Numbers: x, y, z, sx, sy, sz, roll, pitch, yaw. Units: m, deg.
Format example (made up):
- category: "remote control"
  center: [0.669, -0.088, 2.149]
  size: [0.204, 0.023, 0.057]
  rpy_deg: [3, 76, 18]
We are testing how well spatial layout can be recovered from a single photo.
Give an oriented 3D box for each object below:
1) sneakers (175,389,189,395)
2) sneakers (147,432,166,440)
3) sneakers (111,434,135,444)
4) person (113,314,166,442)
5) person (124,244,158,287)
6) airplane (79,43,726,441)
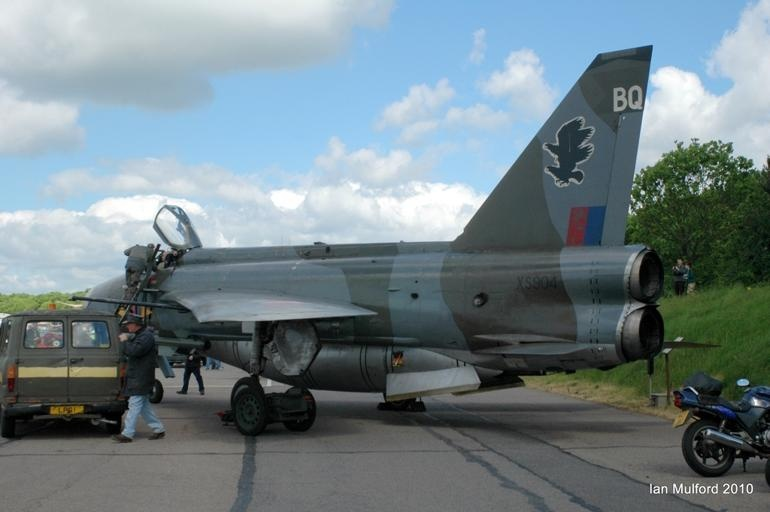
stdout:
- category: "sneakers"
  center: [-6.157, 4.070, 19.877]
  size: [0.371, 0.230, 0.124]
  rpy_deg: [1, -13, 12]
- category: "sneakers"
  center: [-4.562, 3.570, 13.181]
  size: [0.359, 0.207, 0.114]
  rpy_deg: [2, 1, 3]
- category: "sneakers"
  center: [-5.114, 3.541, 12.813]
  size: [0.412, 0.179, 0.148]
  rpy_deg: [19, -6, 4]
- category: "person"
  center: [-4.893, 2.402, 13.190]
  size: [0.918, 2.435, 0.750]
  rpy_deg: [0, -5, -15]
- category: "person"
  center: [-6.486, 0.133, 17.587]
  size: [0.816, 0.986, 1.061]
  rpy_deg: [4, -7, -1]
- category: "airplane"
  center: [0.475, 0.563, 16.119]
  size: [11.410, 5.263, 9.539]
  rpy_deg: [0, -1, 33]
